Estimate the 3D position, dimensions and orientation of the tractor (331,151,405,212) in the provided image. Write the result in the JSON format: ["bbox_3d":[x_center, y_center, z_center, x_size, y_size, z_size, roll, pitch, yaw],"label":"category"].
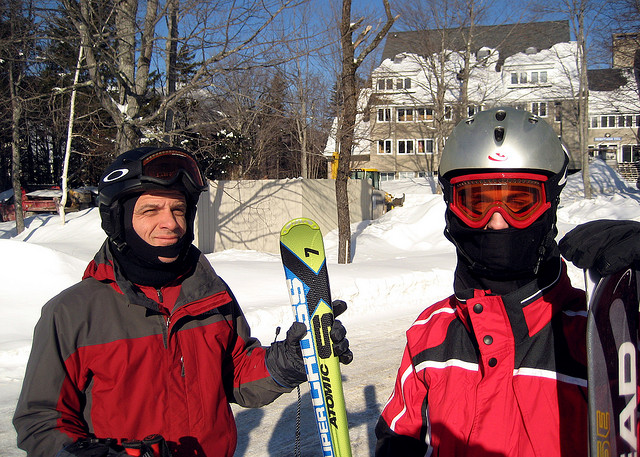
[{"bbox_3d":[2.307,-2.591,31.406,4.668,3.516,4.457,-2,5,21],"label":"tractor"}]

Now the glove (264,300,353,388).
[{"bbox_3d":[-0.080,0.667,3.326,0.486,0.478,0.322,-2,3,-4],"label":"glove"}]

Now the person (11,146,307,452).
[{"bbox_3d":[-0.911,0.388,3.152,1.380,1.667,0.534,-4,4,-30],"label":"person"}]

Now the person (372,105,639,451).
[{"bbox_3d":[0.842,0.236,2.944,0.911,1.716,0.614,0,3,21],"label":"person"}]
